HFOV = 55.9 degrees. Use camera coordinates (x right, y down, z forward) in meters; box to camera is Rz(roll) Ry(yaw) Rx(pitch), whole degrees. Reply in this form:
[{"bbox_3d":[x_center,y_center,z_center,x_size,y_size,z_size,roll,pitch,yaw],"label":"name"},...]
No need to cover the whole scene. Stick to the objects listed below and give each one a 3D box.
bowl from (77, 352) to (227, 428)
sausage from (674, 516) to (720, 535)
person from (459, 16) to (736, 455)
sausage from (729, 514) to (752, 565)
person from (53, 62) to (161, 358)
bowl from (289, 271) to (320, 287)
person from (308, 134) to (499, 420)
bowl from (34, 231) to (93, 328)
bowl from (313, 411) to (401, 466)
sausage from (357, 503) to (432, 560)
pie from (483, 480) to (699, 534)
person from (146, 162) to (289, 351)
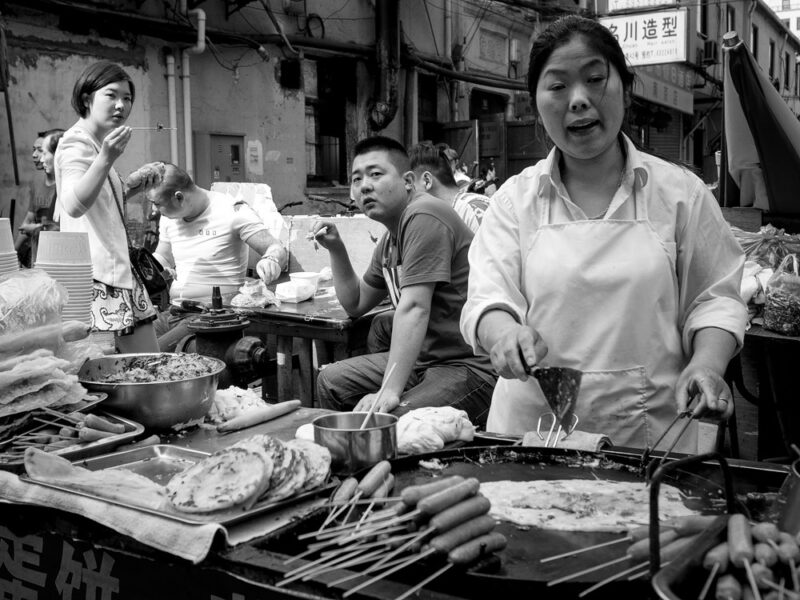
[{"bbox_3d":[-0.992,0.362,3.063,0.584,0.240,0.453,1,5,17],"label":"bowl"},{"bbox_3d":[0.750,0.576,1.901,0.101,0.052,0.057,2,5,25],"label":"sausage"},{"bbox_3d":[0.693,-0.218,2.711,1.023,1.626,0.711,2,5,26],"label":"person"},{"bbox_3d":[0.814,0.571,1.800,0.042,0.045,0.131,-3,22,18],"label":"sausage"},{"bbox_3d":[-1.862,-0.577,4.729,0.574,1.901,0.885,-2,5,-17],"label":"person"},{"bbox_3d":[-0.749,-0.179,5.978,0.155,0.104,0.156,1,2,0],"label":"bowl"},{"bbox_3d":[0.072,0.240,4.333,1.043,2.293,0.887,0,-1,-21],"label":"person"},{"bbox_3d":[-1.556,-0.099,3.482,0.238,0.435,0.210,-3,5,-28],"label":"bowl"},{"bbox_3d":[-0.134,0.424,2.565,0.252,0.170,0.298,9,12,36],"label":"bowl"},{"bbox_3d":[-0.015,0.622,2.008,0.158,0.127,0.149,-2,5,-23],"label":"sausage"},{"bbox_3d":[0.510,0.605,2.205,0.225,0.027,0.251,-2,2,30],"label":"pie"},{"bbox_3d":[-1.627,-0.487,6.438,0.977,1.748,1.063,12,10,36],"label":"person"}]
